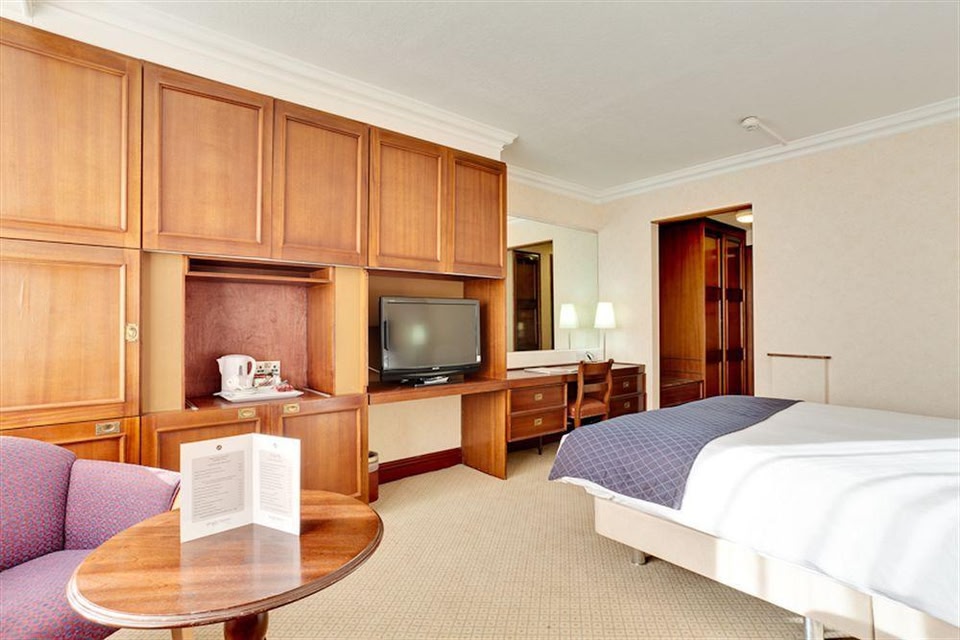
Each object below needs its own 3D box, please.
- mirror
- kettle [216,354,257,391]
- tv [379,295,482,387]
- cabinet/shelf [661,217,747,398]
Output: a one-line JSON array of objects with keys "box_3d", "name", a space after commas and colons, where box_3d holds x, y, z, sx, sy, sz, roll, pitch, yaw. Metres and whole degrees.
[{"box_3d": [0.693, -0.364, 6.264, 1.589, 1.427, 0.124, 2, -5, -35], "name": "mirror"}, {"box_3d": [-1.701, 0.356, 4.270, 0.297, 0.292, 0.212, 2, -6, -23], "name": "kettle"}, {"box_3d": [-0.415, 0.184, 5.068, 0.156, 0.726, 1.091, -1, -1, 43], "name": "tv"}, {"box_3d": [2.668, -0.130, 7.482, 1.970, 2.105, 0.612, -1, -1, -36], "name": "cabinet/shelf"}]
